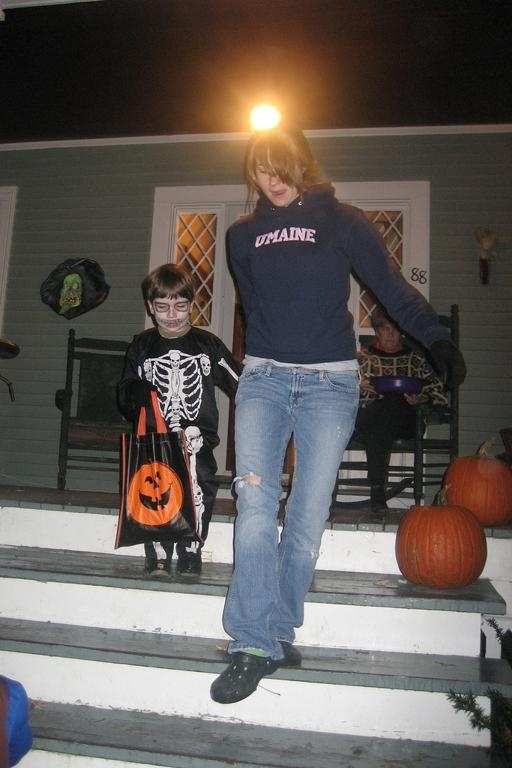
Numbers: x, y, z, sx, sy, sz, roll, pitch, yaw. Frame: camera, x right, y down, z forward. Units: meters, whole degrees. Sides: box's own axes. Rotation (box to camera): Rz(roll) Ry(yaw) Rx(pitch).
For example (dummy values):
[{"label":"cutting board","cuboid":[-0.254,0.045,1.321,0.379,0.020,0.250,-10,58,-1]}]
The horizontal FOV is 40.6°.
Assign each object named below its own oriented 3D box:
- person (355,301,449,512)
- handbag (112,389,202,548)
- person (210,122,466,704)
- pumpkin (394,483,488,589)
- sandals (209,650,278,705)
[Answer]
[{"label":"person","cuboid":[0.770,0.115,4.264,0.651,1.165,0.744,3,8,39]},{"label":"handbag","cuboid":[-0.392,0.393,2.902,0.353,0.542,0.241,5,5,-10]},{"label":"person","cuboid":[0.194,0.088,2.439,0.702,1.904,0.594,6,5,-5]},{"label":"pumpkin","cuboid":[0.830,0.733,3.143,0.424,0.344,0.408,3,-8,2]},{"label":"sandals","cuboid":[-0.026,0.943,2.347,0.124,0.101,0.268,18,24,33]}]
